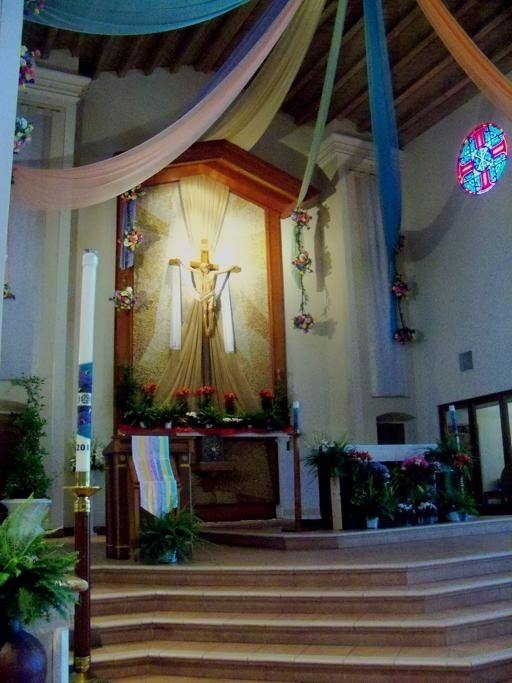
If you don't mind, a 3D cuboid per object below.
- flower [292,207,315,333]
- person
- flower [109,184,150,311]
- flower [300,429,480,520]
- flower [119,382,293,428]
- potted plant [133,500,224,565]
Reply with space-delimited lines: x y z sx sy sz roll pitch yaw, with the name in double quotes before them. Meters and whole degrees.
"flower" 0.667 -1.025 8.506 0.317 1.754 0.891 -2 -9 4
"person" -0.680 -0.677 8.129 0.934 1.196 0.237 3 -10 -27
"flower" -1.654 -1.247 7.782 0.487 1.710 0.408 2 -10 -22
"flower" 1.335 1.362 5.647 1.665 0.809 0.543 3 -10 -28
"flower" -0.585 0.833 7.326 2.121 0.584 0.928 1 -9 -12
"potted plant" -0.579 1.337 4.101 0.379 0.282 0.394 -7 -16 27
